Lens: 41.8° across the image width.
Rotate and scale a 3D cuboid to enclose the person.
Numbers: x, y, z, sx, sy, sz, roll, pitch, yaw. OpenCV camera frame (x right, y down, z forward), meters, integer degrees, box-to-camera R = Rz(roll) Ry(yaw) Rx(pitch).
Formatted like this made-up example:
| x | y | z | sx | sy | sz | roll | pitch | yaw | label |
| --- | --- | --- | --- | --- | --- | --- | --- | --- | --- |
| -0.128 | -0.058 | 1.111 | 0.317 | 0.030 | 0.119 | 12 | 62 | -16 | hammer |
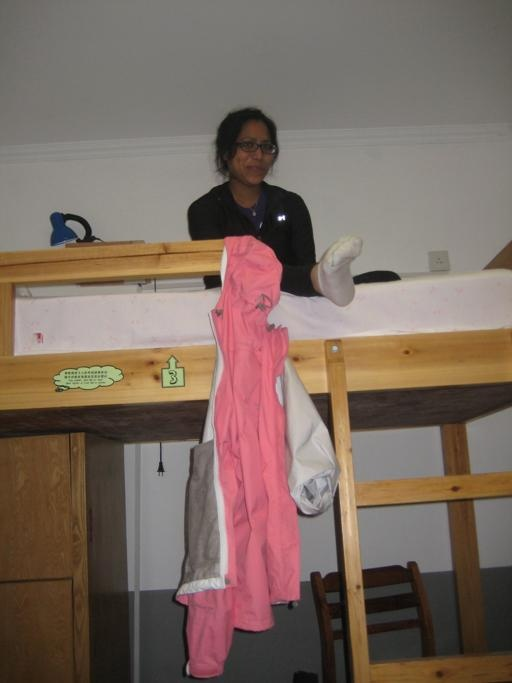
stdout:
| x | y | z | sx | sy | sz | roll | pitch | yaw | label |
| --- | --- | --- | --- | --- | --- | --- | --- | --- | --- |
| 0.101 | -0.539 | 2.505 | 0.448 | 0.820 | 0.876 | -1 | -4 | -31 | person |
